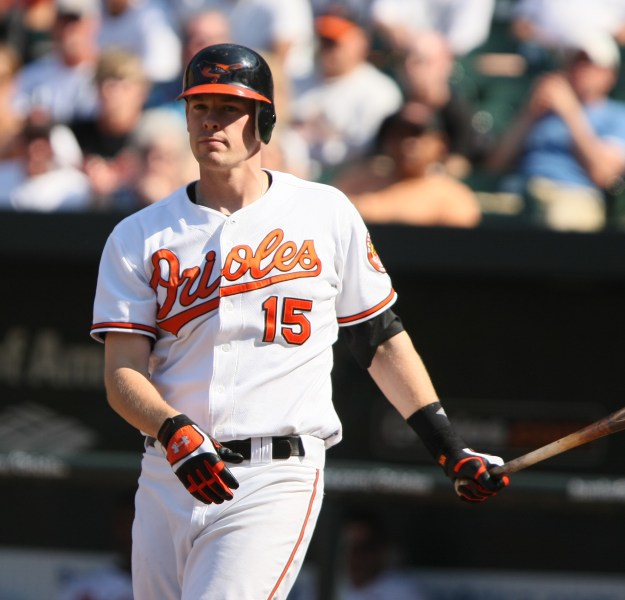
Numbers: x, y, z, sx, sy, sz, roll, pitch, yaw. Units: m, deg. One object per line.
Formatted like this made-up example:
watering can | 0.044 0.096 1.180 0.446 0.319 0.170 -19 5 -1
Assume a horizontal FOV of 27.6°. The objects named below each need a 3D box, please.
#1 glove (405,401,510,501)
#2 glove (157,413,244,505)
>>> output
glove | 0.482 0.519 4.384 0.269 0.154 0.389 -35 60 -13
glove | -0.367 0.480 3.927 0.217 0.091 0.293 -40 92 -18
